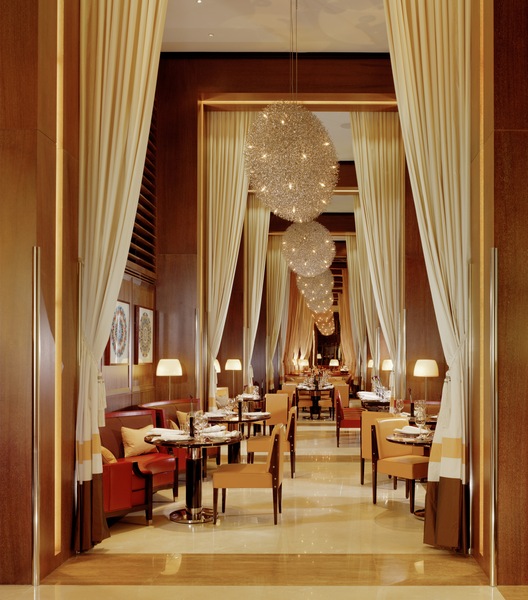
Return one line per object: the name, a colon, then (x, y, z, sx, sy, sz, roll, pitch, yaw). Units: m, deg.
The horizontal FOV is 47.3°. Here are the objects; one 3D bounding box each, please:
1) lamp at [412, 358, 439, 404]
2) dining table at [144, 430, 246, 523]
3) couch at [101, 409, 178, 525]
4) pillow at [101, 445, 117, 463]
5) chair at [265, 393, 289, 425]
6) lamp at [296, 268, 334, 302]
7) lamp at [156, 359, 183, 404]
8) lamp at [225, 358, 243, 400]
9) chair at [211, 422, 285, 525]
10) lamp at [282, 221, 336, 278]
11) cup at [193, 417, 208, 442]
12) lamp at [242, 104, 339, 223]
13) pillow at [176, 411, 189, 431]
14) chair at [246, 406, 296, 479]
lamp: (2.314, 1.137, 8.530, 0.365, 0.601, 0.895, -1, -5, 15)
dining table: (-0.608, 1.475, 5.507, 0.614, 0.779, 0.828, 1, -1, 11)
couch: (-1.143, 1.598, 5.710, 0.406, 0.888, 1.043, -8, -2, 10)
pillow: (-1.360, 1.368, 5.341, 0.065, 0.142, 0.194, -1, -5, 9)
chair: (0.229, 1.654, 9.208, 0.380, 0.844, 0.514, 0, -8, 5)
lamp: (1.569, -0.332, 17.184, 0.725, 1.137, 0.797, 5, -8, -40)
lamp: (-1.194, 1.035, 7.787, 0.303, 0.541, 0.839, 0, -5, -8)
lamp: (-0.579, 1.552, 12.079, 0.324, 0.734, 1.198, 0, -5, -2)
chair: (-0.154, 1.622, 5.620, 0.510, 1.015, 0.653, 4, -7, 4)
lamp: (0.781, -0.908, 10.691, 0.667, 1.218, 0.834, -2, 6, -10)
cup: (-0.563, 1.164, 5.469, 0.123, 0.294, 0.133, -1, -5, 0)
lamp: (0.334, -1.421, 6.496, 0.670, 1.318, 0.631, -8, 15, 11)
pillow: (-0.926, 1.387, 6.928, 0.175, 0.274, 0.084, -3, -11, 26)
chair: (0.099, 1.619, 7.560, 0.502, 1.199, 0.642, 2, 26, 1)
